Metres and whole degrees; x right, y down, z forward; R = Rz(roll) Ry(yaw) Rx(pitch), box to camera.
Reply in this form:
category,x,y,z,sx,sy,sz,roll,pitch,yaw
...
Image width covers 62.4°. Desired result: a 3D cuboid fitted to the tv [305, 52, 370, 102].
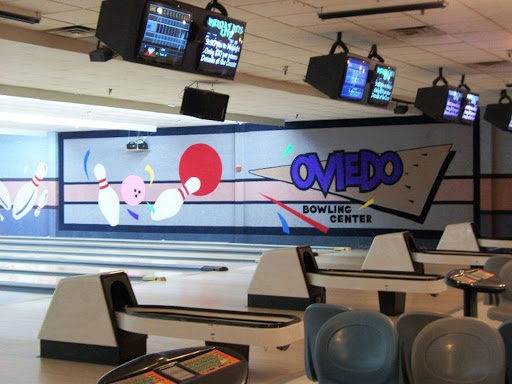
category,x,y,z,sx,sy,sz,roll,pitch,yaw
tv,0.962,-1.354,5.023,0.578,0.473,0.668,15,11,23
